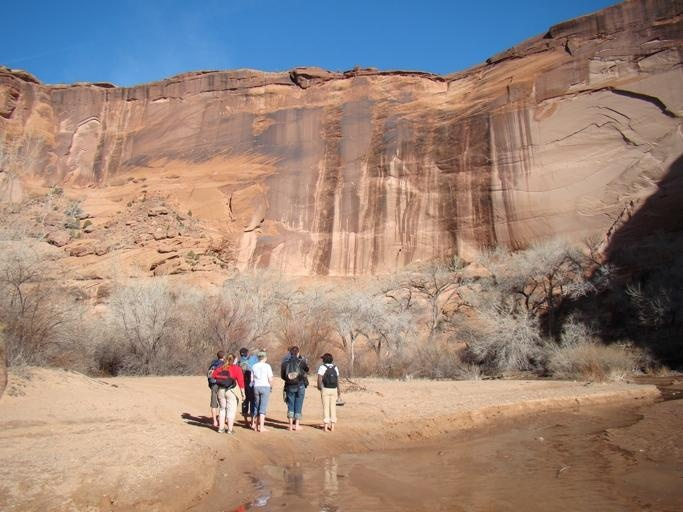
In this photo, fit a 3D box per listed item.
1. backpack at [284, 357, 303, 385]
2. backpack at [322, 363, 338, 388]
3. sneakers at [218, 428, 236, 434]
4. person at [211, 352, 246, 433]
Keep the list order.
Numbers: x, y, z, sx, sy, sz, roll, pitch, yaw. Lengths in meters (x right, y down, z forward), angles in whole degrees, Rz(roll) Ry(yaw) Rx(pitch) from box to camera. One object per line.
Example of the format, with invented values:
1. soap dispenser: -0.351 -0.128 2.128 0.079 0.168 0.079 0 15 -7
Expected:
1. backpack: -1.096 2.664 13.691 0.411 0.580 0.189 2 -15 -4
2. backpack: -0.276 2.820 13.855 0.350 0.560 0.287 1 -15 -2
3. sneakers: -2.697 4.088 13.752 0.445 0.142 0.125 -5 -35 8
4. person: -2.663 3.207 13.740 0.742 1.820 1.030 1 -15 -3
